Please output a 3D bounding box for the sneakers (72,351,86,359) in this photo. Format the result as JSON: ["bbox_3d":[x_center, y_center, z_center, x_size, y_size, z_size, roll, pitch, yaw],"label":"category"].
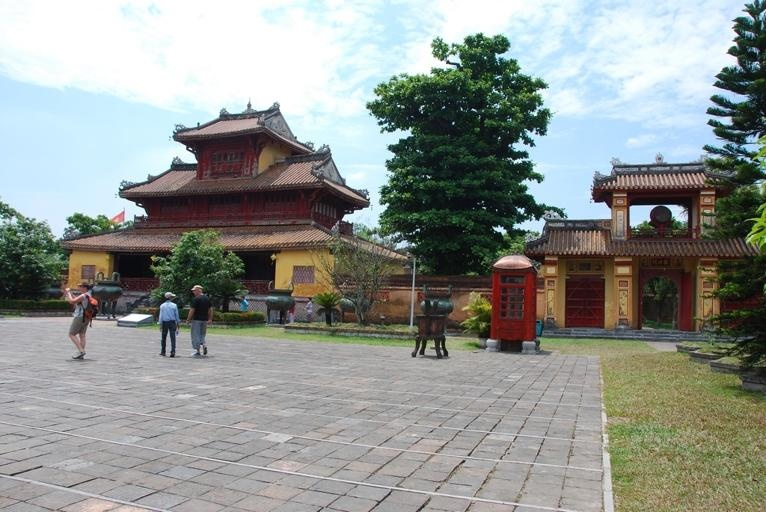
[{"bbox_3d":[-7.429,2.428,14.583,0.470,0.192,0.165,-2,-4,24],"label":"sneakers"}]

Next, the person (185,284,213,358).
[{"bbox_3d":[-5.082,1.798,16.614,0.555,1.996,1.511,-1,4,-17],"label":"person"}]

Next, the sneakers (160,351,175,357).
[{"bbox_3d":[-5.724,2.619,15.898,0.441,0.111,0.098,6,7,27],"label":"sneakers"}]
